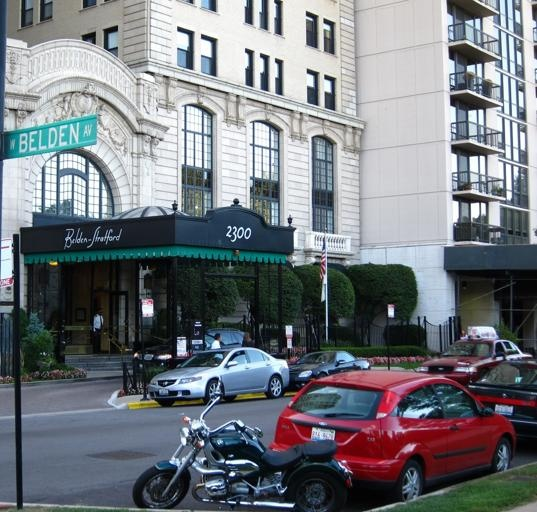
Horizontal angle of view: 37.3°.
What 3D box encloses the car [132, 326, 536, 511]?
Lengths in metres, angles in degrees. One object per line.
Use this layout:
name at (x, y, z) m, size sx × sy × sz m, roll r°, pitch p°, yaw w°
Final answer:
car at (0.967, 2.273, 9.940) m, size 4.757 × 1.558 × 1.692 m, roll 3°, pitch -7°, yaw -40°
